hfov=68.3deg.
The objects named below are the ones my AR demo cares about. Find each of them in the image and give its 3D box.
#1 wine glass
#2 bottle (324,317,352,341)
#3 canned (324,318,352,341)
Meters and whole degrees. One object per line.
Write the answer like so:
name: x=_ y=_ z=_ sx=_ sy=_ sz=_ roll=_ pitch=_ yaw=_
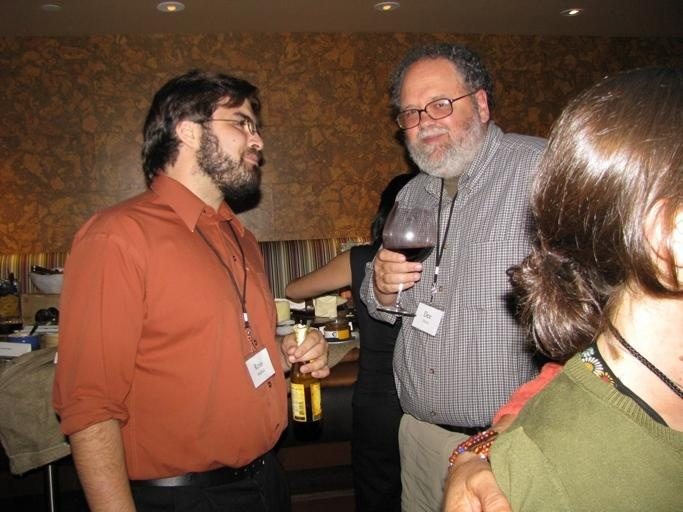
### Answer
wine glass: x=0.238 y=-0.072 z=1.741 sx=0.179 sy=0.204 sz=0.130 roll=-1 pitch=16 yaw=8
bottle: x=-0.012 y=0.342 z=2.354 sx=0.098 sy=0.066 sz=0.095 roll=0 pitch=-5 yaw=0
canned: x=-0.011 y=0.344 z=2.354 sx=0.099 sy=0.066 sz=0.096 roll=4 pitch=-7 yaw=-28
